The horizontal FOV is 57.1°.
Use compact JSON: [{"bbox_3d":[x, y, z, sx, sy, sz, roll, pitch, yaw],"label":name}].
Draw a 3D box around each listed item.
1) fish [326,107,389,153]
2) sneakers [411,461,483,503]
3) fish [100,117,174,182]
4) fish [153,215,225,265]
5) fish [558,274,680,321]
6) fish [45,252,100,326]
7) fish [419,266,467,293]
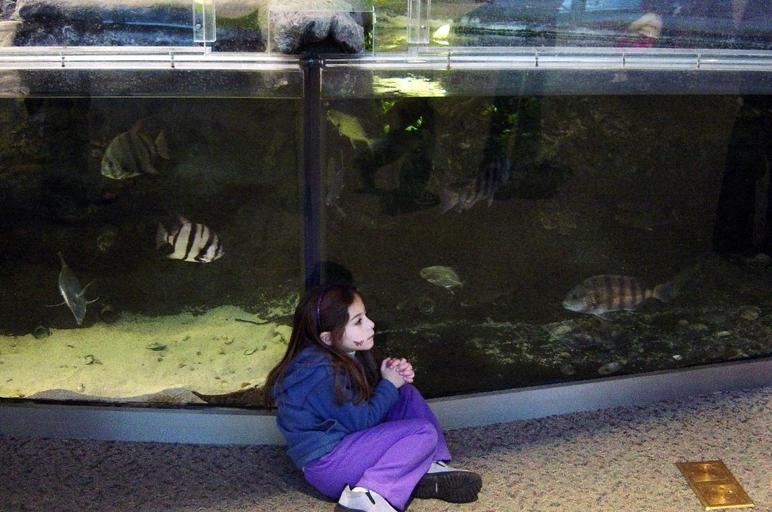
[{"bbox_3d":[-0.155,-0.638,3.614,0.253,0.155,0.059,21,8,-22],"label":"fish"},{"bbox_3d":[0.331,1.165,3.681,0.400,0.138,0.177,3,-2,2],"label":"sneakers"},{"bbox_3d":[-1.307,-0.544,3.665,0.354,0.292,0.036,0,17,2],"label":"fish"},{"bbox_3d":[-1.056,-0.096,3.782,0.246,0.163,0.072,12,13,-4],"label":"fish"},{"bbox_3d":[1.318,0.230,4.086,0.546,0.208,0.125,-5,42,1],"label":"fish"},{"bbox_3d":[-1.683,0.177,3.832,0.238,0.337,0.136,-18,13,-4],"label":"fish"},{"bbox_3d":[0.323,0.124,3.880,0.199,0.123,0.075,17,-1,-6],"label":"fish"}]
